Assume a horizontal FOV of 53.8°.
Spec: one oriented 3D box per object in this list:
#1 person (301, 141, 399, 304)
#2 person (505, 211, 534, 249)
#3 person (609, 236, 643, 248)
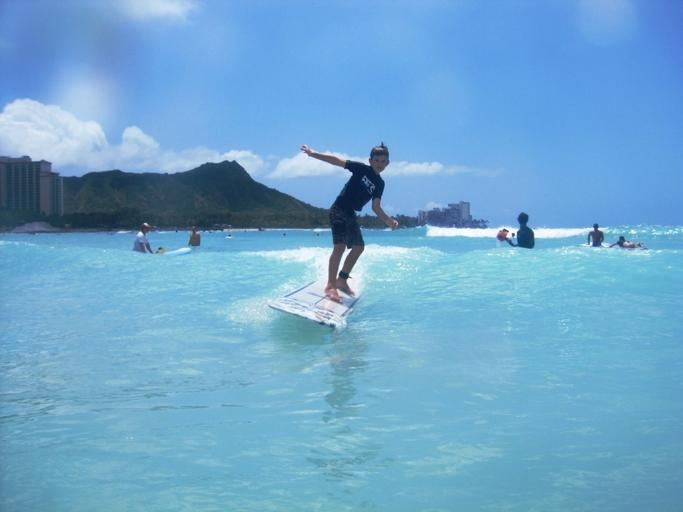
[{"bbox_3d":[0.179,-0.526,11.160,1.217,2.630,1.069,-1,13,2],"label":"person"},{"bbox_3d":[4.405,-0.634,16.472,0.525,1.143,2.494,1,13,14],"label":"person"},{"bbox_3d":[13.863,-0.689,32.754,0.916,0.346,0.641,-1,9,-26],"label":"person"}]
